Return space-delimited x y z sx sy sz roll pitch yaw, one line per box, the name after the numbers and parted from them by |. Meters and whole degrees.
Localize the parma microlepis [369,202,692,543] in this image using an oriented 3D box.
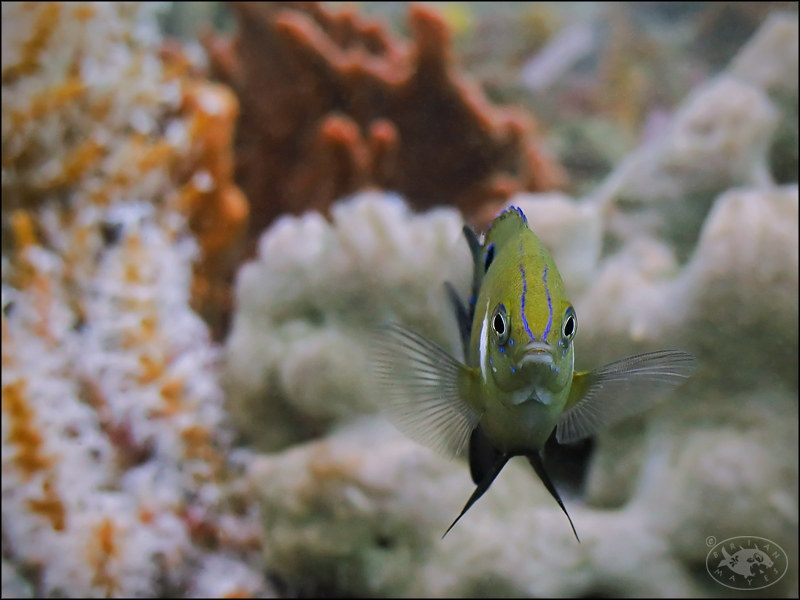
0.169 0.104 1.527 0.327 0.540 0.383 1 86 -7 | parma microlepis
